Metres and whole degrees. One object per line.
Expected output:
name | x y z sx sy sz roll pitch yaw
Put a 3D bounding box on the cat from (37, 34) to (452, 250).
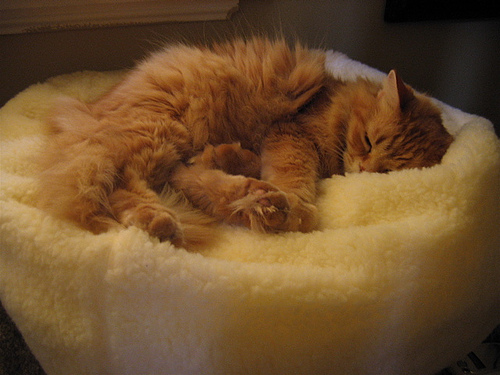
cat | -0.037 -0.127 1.433 0.840 0.289 0.615 8 41 8
